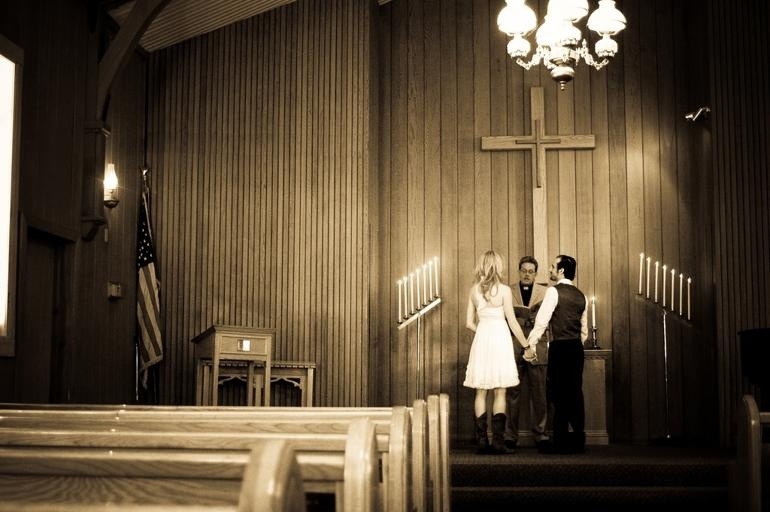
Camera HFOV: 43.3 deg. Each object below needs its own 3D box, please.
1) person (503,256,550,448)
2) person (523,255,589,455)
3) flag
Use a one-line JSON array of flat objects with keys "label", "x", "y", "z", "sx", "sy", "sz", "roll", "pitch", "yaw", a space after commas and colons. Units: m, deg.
[{"label": "person", "x": 1.698, "y": 1.170, "z": 11.574, "sx": 0.517, "sy": 2.459, "sz": 0.442, "roll": -1, "pitch": -3, "yaw": 40}, {"label": "person", "x": 1.934, "y": 1.043, "z": 10.684, "sx": 0.649, "sy": 2.124, "sz": 0.399, "roll": -2, "pitch": 3, "yaw": -31}, {"label": "flag", "x": -2.927, "y": 0.422, "z": 12.069, "sx": 0.327, "sy": 2.499, "sz": 0.365, "roll": 9, "pitch": -13, "yaw": -42}]
